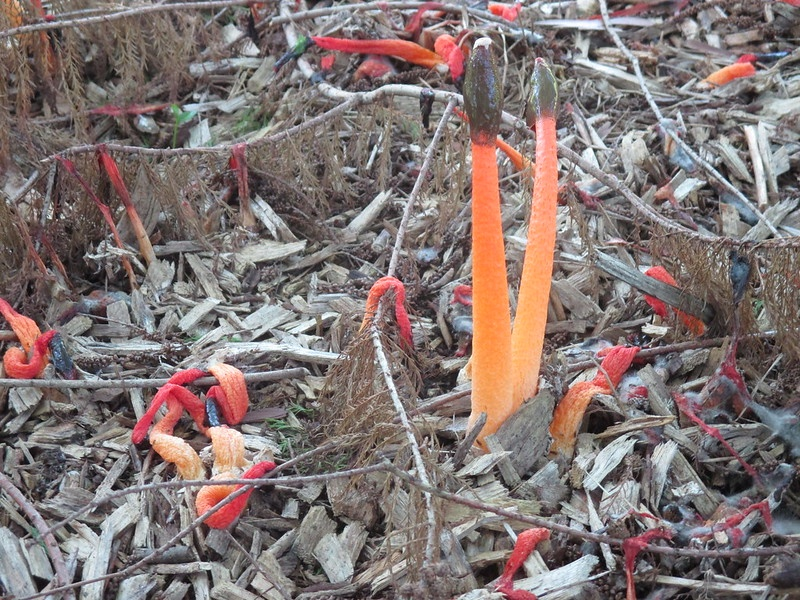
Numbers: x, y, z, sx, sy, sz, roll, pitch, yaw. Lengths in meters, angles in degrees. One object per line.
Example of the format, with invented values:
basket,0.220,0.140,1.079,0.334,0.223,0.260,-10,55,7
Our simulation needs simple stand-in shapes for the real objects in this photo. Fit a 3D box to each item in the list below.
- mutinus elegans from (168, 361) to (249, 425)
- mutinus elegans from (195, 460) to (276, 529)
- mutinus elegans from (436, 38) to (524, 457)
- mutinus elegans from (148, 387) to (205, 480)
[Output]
mutinus elegans,-1.000,0.453,4.940,0.350,0.176,0.298,27,44,9
mutinus elegans,-0.806,0.967,4.549,0.382,0.201,0.353,-14,23,-29
mutinus elegans,0.431,-0.209,4.350,0.227,1.545,1.095,-1,49,3
mutinus elegans,-1.174,0.715,4.851,0.276,0.320,0.401,13,30,31
